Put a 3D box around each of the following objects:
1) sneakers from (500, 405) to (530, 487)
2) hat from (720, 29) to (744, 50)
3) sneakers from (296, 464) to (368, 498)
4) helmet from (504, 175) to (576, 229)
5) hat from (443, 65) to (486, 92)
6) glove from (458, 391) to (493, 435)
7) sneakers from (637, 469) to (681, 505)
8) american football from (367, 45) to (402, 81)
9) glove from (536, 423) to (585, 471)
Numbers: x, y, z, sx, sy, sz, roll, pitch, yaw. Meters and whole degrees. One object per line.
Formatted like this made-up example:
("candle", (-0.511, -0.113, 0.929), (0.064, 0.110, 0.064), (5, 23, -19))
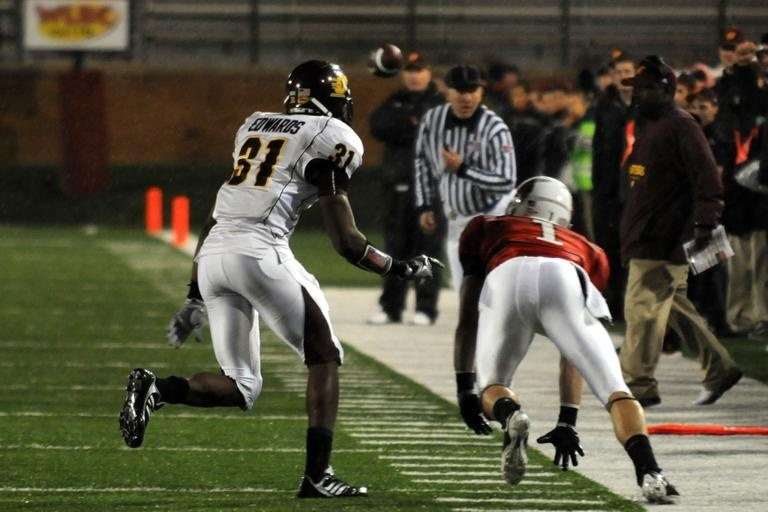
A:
("sneakers", (0.876, 1.310, 8.969), (0.186, 0.468, 0.245), (4, 2, 1))
("hat", (3.526, -2.171, 13.241), (0.202, 0.206, 0.422), (2, 10, 14))
("sneakers", (-0.408, 1.544, 9.015), (0.610, 0.239, 0.179), (0, -4, -7))
("helmet", (1.195, -0.418, 9.597), (0.360, 0.365, 0.445), (27, -4, -21))
("hat", (0.698, -1.486, 11.098), (0.314, 0.218, 0.248), (0, 10, 4))
("glove", (0.676, 1.152, 9.715), (0.201, 0.339, 0.109), (-31, -24, -7))
("sneakers", (1.857, 1.569, 8.903), (0.156, 0.165, 0.311), (-30, -5, -10))
("american football", (0.024, -2.141, 14.514), (0.429, 0.370, 0.127), (3, 17, -17))
("glove", (1.291, 1.390, 9.497), (0.386, 0.439, 0.137), (7, -5, 11))
